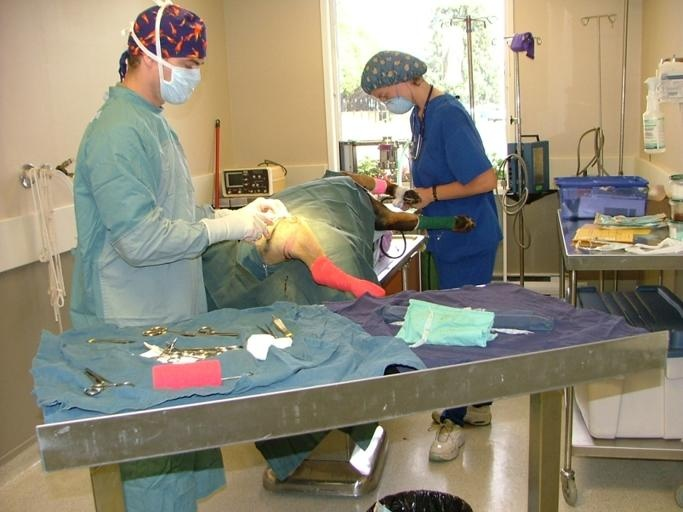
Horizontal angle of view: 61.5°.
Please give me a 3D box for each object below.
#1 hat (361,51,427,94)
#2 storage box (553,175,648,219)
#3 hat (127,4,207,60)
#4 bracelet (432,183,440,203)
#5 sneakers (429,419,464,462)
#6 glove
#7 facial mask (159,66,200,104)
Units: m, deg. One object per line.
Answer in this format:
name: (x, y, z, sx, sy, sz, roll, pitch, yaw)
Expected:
hat: (0.235, -0.927, 2.877, 0.237, 0.142, 0.201, -6, 20, 11)
storage box: (1.395, -0.322, 3.091, 0.338, 0.136, 0.277, 0, 9, 12)
hat: (-0.601, -0.762, 2.018, 0.203, 0.142, 0.216, 2, 36, 1)
bracelet: (0.467, -0.313, 2.869, 0.031, 0.073, 0.041, -5, 10, -2)
sneakers: (0.524, 0.900, 2.844, 0.113, 0.151, 0.319, -6, 6, 30)
glove: (-0.331, -0.116, 2.055, 0.141, 0.111, 0.327, 37, 45, 27)
facial mask: (-0.571, -0.601, 2.048, 0.127, 0.089, 0.116, 31, 21, 11)
